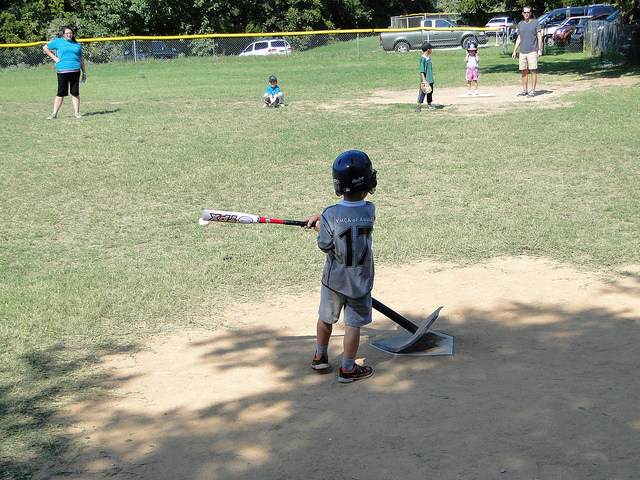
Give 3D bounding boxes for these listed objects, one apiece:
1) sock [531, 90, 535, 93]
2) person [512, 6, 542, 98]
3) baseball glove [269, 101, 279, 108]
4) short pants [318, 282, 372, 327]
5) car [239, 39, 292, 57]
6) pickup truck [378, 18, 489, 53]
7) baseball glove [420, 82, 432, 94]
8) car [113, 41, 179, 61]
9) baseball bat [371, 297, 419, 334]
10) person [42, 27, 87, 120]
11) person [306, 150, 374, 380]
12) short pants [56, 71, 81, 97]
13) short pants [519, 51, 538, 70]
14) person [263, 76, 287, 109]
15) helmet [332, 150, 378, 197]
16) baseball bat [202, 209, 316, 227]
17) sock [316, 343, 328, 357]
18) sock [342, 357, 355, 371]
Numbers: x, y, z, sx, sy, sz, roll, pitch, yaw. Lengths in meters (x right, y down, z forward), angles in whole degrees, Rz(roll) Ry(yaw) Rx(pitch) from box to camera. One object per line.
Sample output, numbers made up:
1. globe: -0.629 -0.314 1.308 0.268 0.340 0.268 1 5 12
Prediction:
1. sock: 4.643 -3.243 15.900 0.038 0.049 0.052 -1 29 -19
2. person: 4.494 -4.046 15.757 0.526 1.897 1.284 2 16 14
3. baseball glove: -1.012 -3.048 16.373 0.198 0.135 0.125 -2 15 -3
4. short pants: 0.242 0.591 6.806 0.500 0.353 0.250 6 17 14
5. car: -2.362 -8.575 32.421 1.229 0.705 2.746 8 16 32
6. pickup truck: 5.021 -8.980 31.878 4.966 1.413 1.495 -7 16 -22
7. baseball glove: 2.225 -3.164 15.110 0.302 0.161 0.149 -22 -1 -37
8. car: -7.151 -7.789 30.010 2.622 0.769 0.932 -4 15 -12
9. baseball bat: 0.799 0.813 7.753 0.825 0.124 0.139 27 -15 -21
10. person: -5.108 -3.344 14.675 0.780 1.798 1.232 -7 17 -18
11. person: 0.295 0.228 6.773 0.635 2.061 0.492 -16 22 -39
12. short pants: -4.949 -3.078 14.410 0.438 0.495 0.498 -7 16 -18
13. short pants: 4.448 -3.842 15.581 0.252 0.345 0.428 -18 24 -33
14. person: -1.049 -3.318 16.397 0.627 0.683 0.392 -10 18 -28
15. helmet: 0.301 -0.637 6.791 0.475 0.322 0.353 -17 24 -40
16. baseball bat: -0.730 -0.259 8.810 1.506 0.154 0.149 5 35 4
17. sock: 0.019 1.043 6.954 0.106 0.137 0.061 -2 16 -1
18. sock: 0.270 1.143 6.748 0.139 0.107 0.097 3 7 -4
